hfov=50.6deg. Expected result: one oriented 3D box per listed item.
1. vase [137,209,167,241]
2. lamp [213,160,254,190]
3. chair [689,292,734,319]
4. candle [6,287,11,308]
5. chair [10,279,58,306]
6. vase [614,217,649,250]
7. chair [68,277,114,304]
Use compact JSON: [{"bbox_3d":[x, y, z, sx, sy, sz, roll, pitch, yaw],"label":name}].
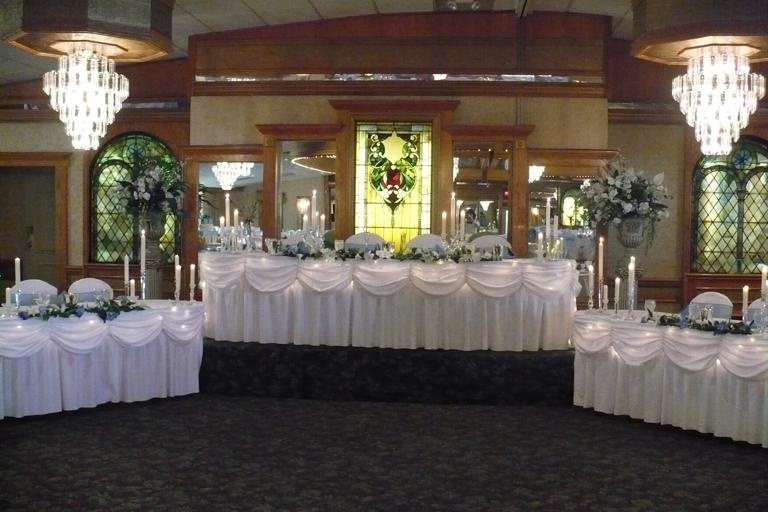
[{"bbox_3d":[-3.840,-0.498,13.614,0.492,0.426,0.493,2,-4,-30],"label":"vase"},{"bbox_3d":[-3.342,-1.799,18.039,0.606,0.705,0.633,0,1,32],"label":"lamp"},{"bbox_3d":[3.713,0.574,9.251,0.352,0.298,0.371,2,1,18],"label":"chair"},{"bbox_3d":[-4.314,0.482,9.325,0.058,0.194,0.162,-1,3,-26],"label":"candle"},{"bbox_3d":[-4.127,0.454,9.549,0.355,0.365,0.358,4,-2,-29],"label":"chair"},{"bbox_3d":[3.970,-0.297,12.990,0.484,0.590,0.490,-2,-3,39],"label":"vase"},{"bbox_3d":[-3.510,0.429,9.754,0.335,0.226,0.351,1,1,1],"label":"chair"}]
